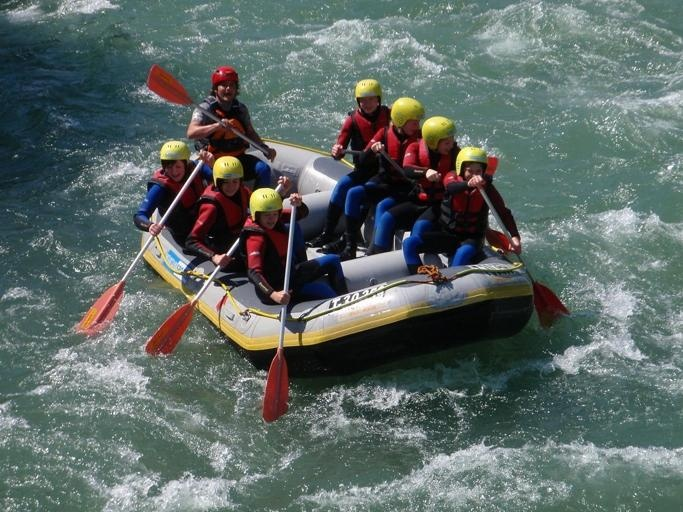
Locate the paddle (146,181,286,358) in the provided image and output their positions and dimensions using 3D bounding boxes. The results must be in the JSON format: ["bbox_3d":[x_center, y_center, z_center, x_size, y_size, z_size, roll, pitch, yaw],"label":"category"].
[{"bbox_3d":[-1.477,0.192,11.444,3.141,0.568,0.125,-45,31,0],"label":"paddle"}]

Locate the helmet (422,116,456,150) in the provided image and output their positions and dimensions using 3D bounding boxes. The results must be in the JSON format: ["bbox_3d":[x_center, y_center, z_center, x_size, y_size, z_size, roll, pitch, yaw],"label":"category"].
[{"bbox_3d":[1.237,-1.537,11.643,0.435,0.342,0.328,-7,28,30],"label":"helmet"}]

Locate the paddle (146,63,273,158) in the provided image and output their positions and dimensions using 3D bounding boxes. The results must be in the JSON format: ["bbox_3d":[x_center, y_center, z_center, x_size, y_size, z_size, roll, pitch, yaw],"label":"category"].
[{"bbox_3d":[-1.933,-2.063,13.841,2.601,0.462,0.072,32,7,-26],"label":"paddle"}]

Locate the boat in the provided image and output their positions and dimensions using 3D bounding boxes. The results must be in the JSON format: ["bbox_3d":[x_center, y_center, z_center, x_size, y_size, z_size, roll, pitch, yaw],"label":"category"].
[{"bbox_3d":[-0.052,0.120,11.954,4.563,1.394,3.276,26,39,38],"label":"boat"}]

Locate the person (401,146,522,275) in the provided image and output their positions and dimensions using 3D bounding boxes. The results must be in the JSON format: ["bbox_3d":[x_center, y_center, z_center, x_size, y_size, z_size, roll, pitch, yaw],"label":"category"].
[{"bbox_3d":[1.406,-0.496,11.478,1.442,1.770,1.042,14,-6,6],"label":"person"}]

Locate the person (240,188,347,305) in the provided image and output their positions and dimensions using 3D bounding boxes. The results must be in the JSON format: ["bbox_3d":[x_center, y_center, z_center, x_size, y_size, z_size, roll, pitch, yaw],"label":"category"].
[{"bbox_3d":[-0.601,-0.071,11.403,0.837,1.134,0.877,-15,33,23],"label":"person"}]

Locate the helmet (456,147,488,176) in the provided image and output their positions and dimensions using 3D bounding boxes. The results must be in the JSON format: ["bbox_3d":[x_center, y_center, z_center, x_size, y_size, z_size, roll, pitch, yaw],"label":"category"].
[{"bbox_3d":[1.537,-1.137,11.279,0.308,0.369,0.314,5,47,-9],"label":"helmet"}]

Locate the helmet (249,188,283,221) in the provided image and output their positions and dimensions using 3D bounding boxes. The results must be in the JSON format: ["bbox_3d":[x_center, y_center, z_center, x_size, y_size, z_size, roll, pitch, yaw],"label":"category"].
[{"bbox_3d":[-0.871,-0.631,11.033,0.320,0.383,0.301,-8,40,-19],"label":"helmet"}]

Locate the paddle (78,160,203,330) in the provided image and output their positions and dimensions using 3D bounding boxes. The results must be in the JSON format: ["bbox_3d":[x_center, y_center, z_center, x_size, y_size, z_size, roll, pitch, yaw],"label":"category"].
[{"bbox_3d":[-2.611,-0.048,12.333,0.499,3.218,0.127,41,-6,-3],"label":"paddle"}]

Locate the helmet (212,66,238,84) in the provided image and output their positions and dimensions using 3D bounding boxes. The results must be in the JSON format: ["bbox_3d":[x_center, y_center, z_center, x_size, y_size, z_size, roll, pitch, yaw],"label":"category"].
[{"bbox_3d":[-1.543,-2.298,12.206,0.288,0.354,0.177,-2,65,-24],"label":"helmet"}]

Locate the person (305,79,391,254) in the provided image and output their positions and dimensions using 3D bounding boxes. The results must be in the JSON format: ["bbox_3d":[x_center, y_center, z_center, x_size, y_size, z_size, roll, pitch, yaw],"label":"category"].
[{"bbox_3d":[0.238,-1.188,12.476,1.483,2.129,0.849,-21,28,-37],"label":"person"}]

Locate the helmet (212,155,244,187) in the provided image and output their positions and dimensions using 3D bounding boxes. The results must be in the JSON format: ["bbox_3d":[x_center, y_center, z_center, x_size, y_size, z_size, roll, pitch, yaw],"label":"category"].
[{"bbox_3d":[-1.375,-1.043,11.493,0.276,0.364,0.279,-1,43,-18],"label":"helmet"}]
